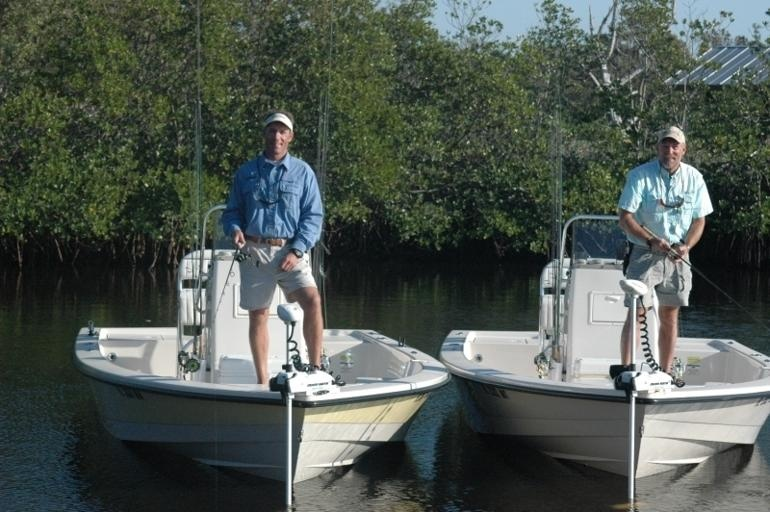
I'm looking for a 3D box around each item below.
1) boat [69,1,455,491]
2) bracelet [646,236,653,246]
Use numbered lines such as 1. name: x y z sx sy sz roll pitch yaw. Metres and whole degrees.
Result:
1. boat: -2.204 0.783 22.462 6.170 7.014 9.059 3 4 -8
2. bracelet: 4.112 -0.248 20.703 0.107 0.155 0.045 -1 1 19
